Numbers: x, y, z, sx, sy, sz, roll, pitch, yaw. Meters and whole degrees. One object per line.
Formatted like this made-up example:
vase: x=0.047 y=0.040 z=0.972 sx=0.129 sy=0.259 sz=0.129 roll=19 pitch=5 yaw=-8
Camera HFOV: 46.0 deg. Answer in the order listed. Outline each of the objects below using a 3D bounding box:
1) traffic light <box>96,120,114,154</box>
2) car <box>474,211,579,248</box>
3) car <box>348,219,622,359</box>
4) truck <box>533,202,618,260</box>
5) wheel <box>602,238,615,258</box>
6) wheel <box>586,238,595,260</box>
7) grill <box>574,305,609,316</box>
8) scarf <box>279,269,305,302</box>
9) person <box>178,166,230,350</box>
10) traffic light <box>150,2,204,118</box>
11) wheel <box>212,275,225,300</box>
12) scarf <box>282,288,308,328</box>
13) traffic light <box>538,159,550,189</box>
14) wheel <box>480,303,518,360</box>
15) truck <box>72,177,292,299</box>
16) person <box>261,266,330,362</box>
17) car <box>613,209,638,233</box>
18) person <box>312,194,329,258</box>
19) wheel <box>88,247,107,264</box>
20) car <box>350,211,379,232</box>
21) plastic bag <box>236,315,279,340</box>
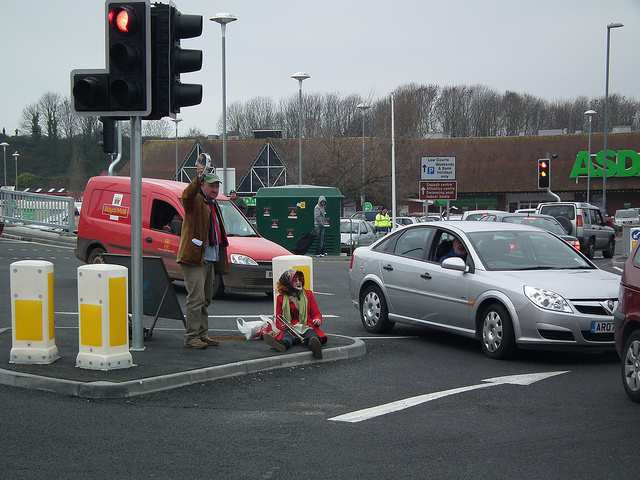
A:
traffic light: x=-5.881 y=-2.908 z=20.681 sx=0.334 sy=0.993 sz=0.532 roll=0 pitch=18 yaw=-14
car: x=5.982 y=-0.071 z=21.837 sx=1.334 sy=1.320 sz=2.520 roll=-2 pitch=5 yaw=-19
car: x=2.362 y=0.679 z=10.934 sx=1.755 sy=1.419 sz=3.615 roll=1 pitch=-2 yaw=-34
truck: x=9.737 y=-0.490 z=28.878 sx=2.768 sy=2.498 sz=4.718 roll=2 pitch=7 yaw=33
wheel: x=11.364 y=0.289 z=29.798 sx=0.407 sy=0.764 sz=0.959 roll=2 pitch=4 yaw=19
wheel: x=9.878 y=0.288 z=27.646 sx=0.212 sy=0.770 sz=0.705 roll=-4 pitch=2 yaw=23
grill: x=3.424 y=0.891 z=9.537 sx=0.408 sy=0.123 sz=0.052 roll=1 pitch=3 yaw=2
scarf: x=-0.434 y=0.618 z=10.161 sx=0.334 sy=0.487 sz=0.332 roll=-5 pitch=-3 yaw=39
person: x=-1.592 y=0.218 z=10.031 sx=0.553 sy=2.407 sz=0.865 roll=1 pitch=3 yaw=6
traffic light: x=-1.841 y=-2.293 z=9.599 sx=0.648 sy=1.442 sz=0.298 roll=0 pitch=3 yaw=-19
wheel: x=-2.070 y=0.960 z=15.309 sx=0.241 sy=0.551 sz=0.653 roll=0 pitch=4 yaw=-8
scarf: x=-0.346 y=0.936 z=10.173 sx=0.407 sy=0.123 sz=0.772 roll=1 pitch=41 yaw=-4
traffic light: x=7.539 y=-2.253 z=25.407 sx=0.307 sy=0.989 sz=1.099 roll=2 pitch=4 yaw=14
wheel: x=2.335 y=1.222 z=10.022 sx=0.399 sy=0.736 sz=0.635 roll=2 pitch=3 yaw=5
truck: x=-3.058 y=-0.066 z=16.279 sx=4.741 sy=2.495 sz=2.082 roll=3 pitch=0 yaw=29
person: x=-0.339 y=0.980 z=10.137 sx=0.640 sy=0.977 sz=1.395 roll=-3 pitch=8 yaw=-10
car: x=18.209 y=-1.181 z=45.086 sx=1.089 sy=1.251 sz=1.989 roll=1 pitch=10 yaw=19
person: x=0.018 y=-0.466 z=26.978 sx=0.590 sy=2.190 sz=1.225 roll=1 pitch=3 yaw=0
wheel: x=-4.398 y=0.308 z=14.890 sx=0.284 sy=0.334 sz=0.108 roll=5 pitch=-2 yaw=27
car: x=3.110 y=-1.427 z=54.213 sx=1.919 sy=1.151 sz=1.161 roll=2 pitch=2 yaw=-6
plastic bag: x=-0.867 y=1.229 z=10.484 sx=0.518 sy=0.305 sz=0.351 roll=-1 pitch=-1 yaw=-21
